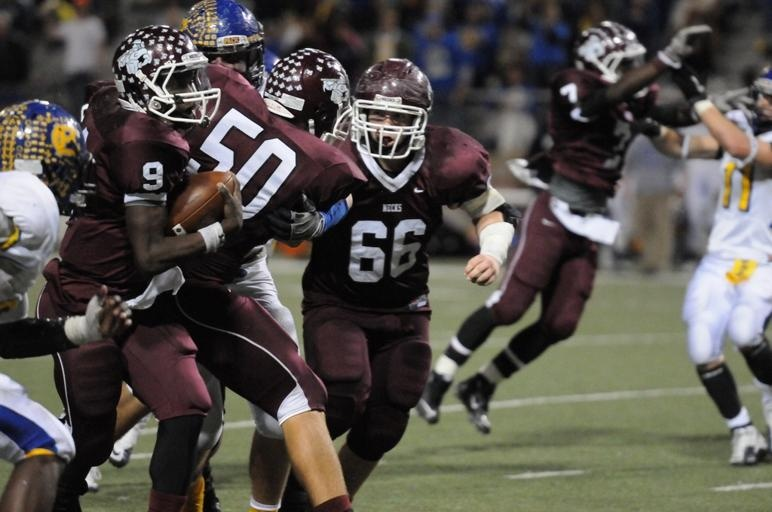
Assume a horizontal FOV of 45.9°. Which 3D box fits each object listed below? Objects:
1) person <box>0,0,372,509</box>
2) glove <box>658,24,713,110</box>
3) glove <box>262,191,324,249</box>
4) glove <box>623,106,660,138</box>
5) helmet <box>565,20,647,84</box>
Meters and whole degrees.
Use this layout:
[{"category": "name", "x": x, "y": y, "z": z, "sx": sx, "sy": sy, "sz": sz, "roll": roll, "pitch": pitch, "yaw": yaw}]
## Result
[{"category": "person", "x": -0.781, "y": 0.042, "z": 3.667, "sx": 1.243, "sy": 1.894, "sz": 0.653, "roll": -2, "pitch": 7, "yaw": 1}, {"category": "glove", "x": 1.517, "y": -0.953, "z": 4.584, "sx": 0.255, "sy": 0.384, "sz": 0.296, "roll": 2, "pitch": 8, "yaw": 37}, {"category": "glove", "x": -0.372, "y": -0.132, "z": 3.703, "sx": 0.237, "sy": 0.173, "sz": 0.101, "roll": -4, "pitch": 31, "yaw": -17}, {"category": "glove", "x": 1.349, "y": -0.718, "z": 4.882, "sx": 0.184, "sy": 0.064, "sz": 0.191, "roll": 39, "pitch": 14, "yaw": 38}, {"category": "helmet", "x": 1.234, "y": -1.157, "z": 5.170, "sx": 0.428, "sy": 0.369, "sz": 0.321, "roll": 1, "pitch": 30, "yaw": 9}]
